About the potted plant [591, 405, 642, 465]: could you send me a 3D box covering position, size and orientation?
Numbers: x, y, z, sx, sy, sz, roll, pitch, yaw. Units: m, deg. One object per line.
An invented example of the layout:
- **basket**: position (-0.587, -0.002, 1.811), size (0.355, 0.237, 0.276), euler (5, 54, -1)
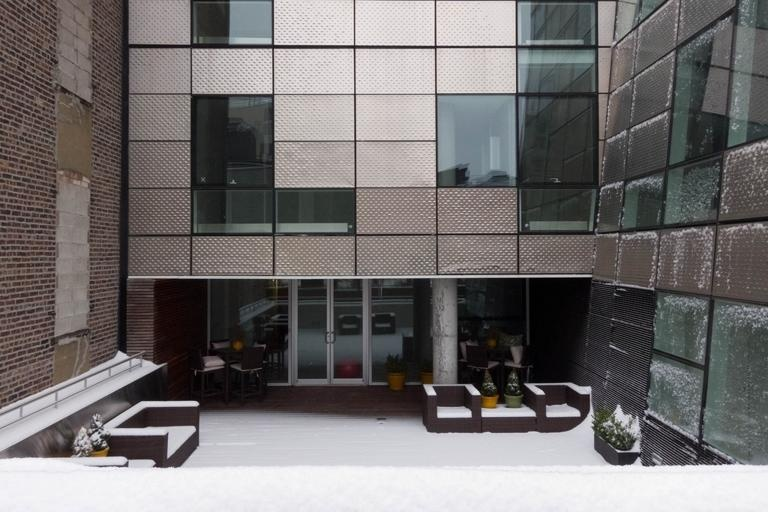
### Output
- **potted plant**: position (4.419, 3.398, 11.039), size (0.865, 1.124, 1.171), euler (-1, 2, -2)

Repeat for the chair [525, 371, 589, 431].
- **chair**: position (3.751, 3.193, 12.382), size (1.022, 0.634, 0.989), euler (-2, 5, 0)

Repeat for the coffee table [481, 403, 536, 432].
- **coffee table**: position (2.629, 3.498, 12.193), size (0.652, 0.273, 0.689), euler (0, -2, -8)

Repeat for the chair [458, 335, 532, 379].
- **chair**: position (2.787, 2.696, 14.439), size (1.766, 1.180, 1.660), euler (2, 7, 10)

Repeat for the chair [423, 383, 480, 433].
- **chair**: position (1.460, 3.287, 12.338), size (1.217, 0.806, 0.729), euler (0, 7, 0)

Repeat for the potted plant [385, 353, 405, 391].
- **potted plant**: position (0.296, 3.020, 14.833), size (0.467, 0.836, 0.566), euler (0, 7, -5)

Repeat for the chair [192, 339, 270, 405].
- **chair**: position (-3.831, 2.931, 14.091), size (1.515, 1.038, 1.493), euler (-1, 3, -14)

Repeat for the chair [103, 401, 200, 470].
- **chair**: position (-4.268, 3.400, 10.583), size (1.138, 0.959, 1.616), euler (1, 7, 4)
